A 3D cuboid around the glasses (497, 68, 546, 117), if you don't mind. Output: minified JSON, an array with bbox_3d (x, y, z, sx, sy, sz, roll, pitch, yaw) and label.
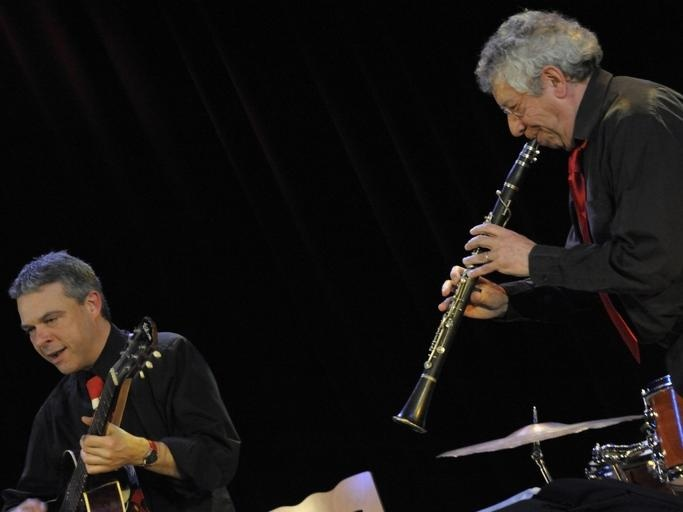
[{"bbox_3d":[0.749,-0.678,2.948,0.124,0.185,0.190,4,11,19],"label":"glasses"}]

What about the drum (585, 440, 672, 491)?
[{"bbox_3d":[1.412,0.952,3.411,0.393,0.145,0.369,0,-18,0],"label":"drum"}]

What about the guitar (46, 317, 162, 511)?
[{"bbox_3d":[-0.985,0.715,3.142,0.511,0.873,0.480,3,-1,-33],"label":"guitar"}]

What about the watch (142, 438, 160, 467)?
[{"bbox_3d":[-0.806,0.849,3.009,0.082,0.110,0.103,18,-22,-31],"label":"watch"}]
